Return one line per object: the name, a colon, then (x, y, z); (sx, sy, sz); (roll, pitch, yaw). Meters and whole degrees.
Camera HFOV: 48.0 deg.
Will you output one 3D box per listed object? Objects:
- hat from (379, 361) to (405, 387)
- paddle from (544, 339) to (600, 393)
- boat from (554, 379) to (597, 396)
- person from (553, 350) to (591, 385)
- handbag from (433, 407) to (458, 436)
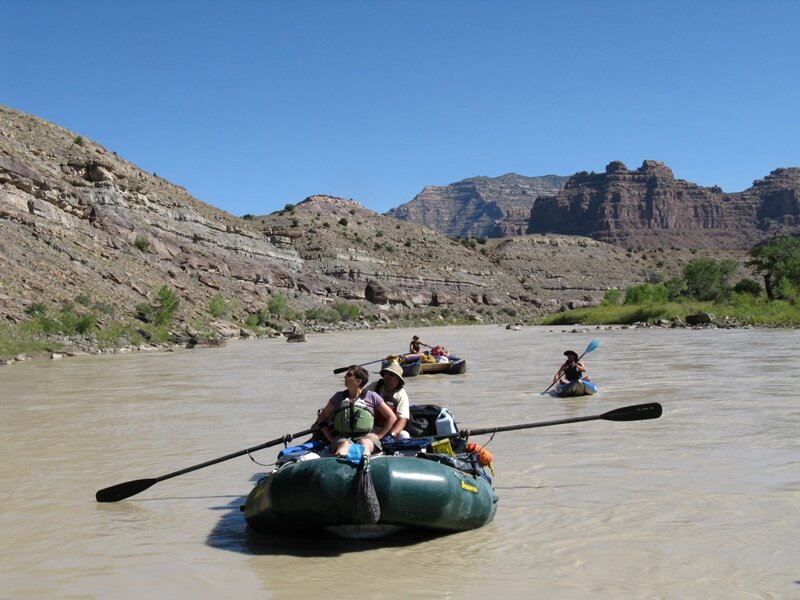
hat: (-0.089, 1.021, 13.071); (0.353, 0.182, 0.342); (18, -30, 26)
paddle: (5.288, 2.054, 27.964); (0.270, 0.356, 3.086); (7, 28, 42)
boat: (4.223, 2.145, 22.175); (1.053, 0.466, 0.787); (0, 6, 4)
person: (4.793, 1.920, 25.299); (1.086, 1.071, 0.814); (-9, -28, 32)
handbag: (0.649, 1.867, 13.680); (0.357, 0.337, 0.124); (-7, -12, 19)
